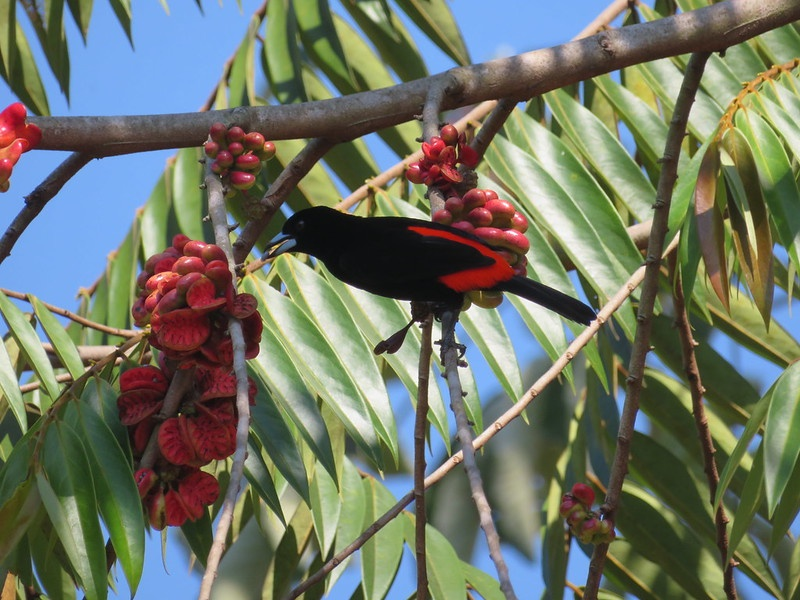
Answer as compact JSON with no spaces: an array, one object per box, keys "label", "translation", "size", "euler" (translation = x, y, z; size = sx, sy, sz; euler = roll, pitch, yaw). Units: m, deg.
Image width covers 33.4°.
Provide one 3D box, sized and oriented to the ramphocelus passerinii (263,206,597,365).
[{"label":"ramphocelus passerinii","translation":[0.087,-0.074,5.180],"size":[1.370,0.372,0.599],"euler":[0,-92,19]}]
